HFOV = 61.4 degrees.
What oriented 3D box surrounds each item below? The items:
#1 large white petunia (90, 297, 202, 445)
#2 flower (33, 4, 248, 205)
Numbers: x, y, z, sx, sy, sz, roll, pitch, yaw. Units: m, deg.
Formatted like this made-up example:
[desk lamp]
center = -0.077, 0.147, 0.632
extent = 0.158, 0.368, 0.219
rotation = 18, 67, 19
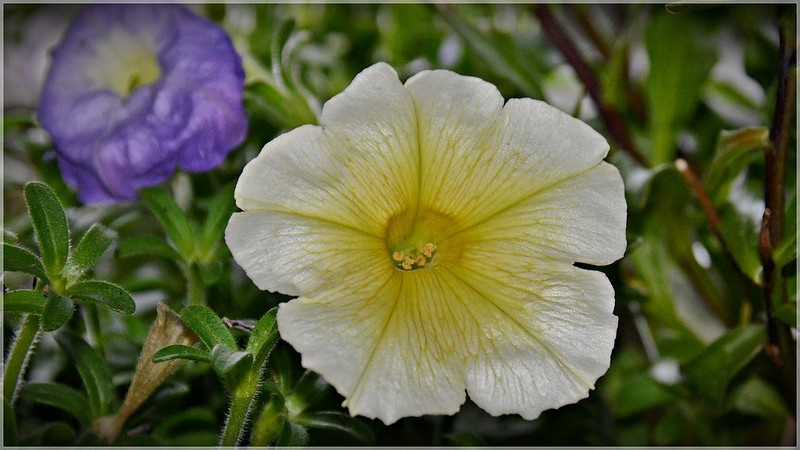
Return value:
[large white petunia]
center = -0.476, 0.286, 1.270
extent = 0.272, 0.162, 0.166
rotation = -47, 53, 23
[flower]
center = -0.486, -0.252, 1.262
extent = 0.402, 0.104, 0.378
rotation = -8, 74, 3
